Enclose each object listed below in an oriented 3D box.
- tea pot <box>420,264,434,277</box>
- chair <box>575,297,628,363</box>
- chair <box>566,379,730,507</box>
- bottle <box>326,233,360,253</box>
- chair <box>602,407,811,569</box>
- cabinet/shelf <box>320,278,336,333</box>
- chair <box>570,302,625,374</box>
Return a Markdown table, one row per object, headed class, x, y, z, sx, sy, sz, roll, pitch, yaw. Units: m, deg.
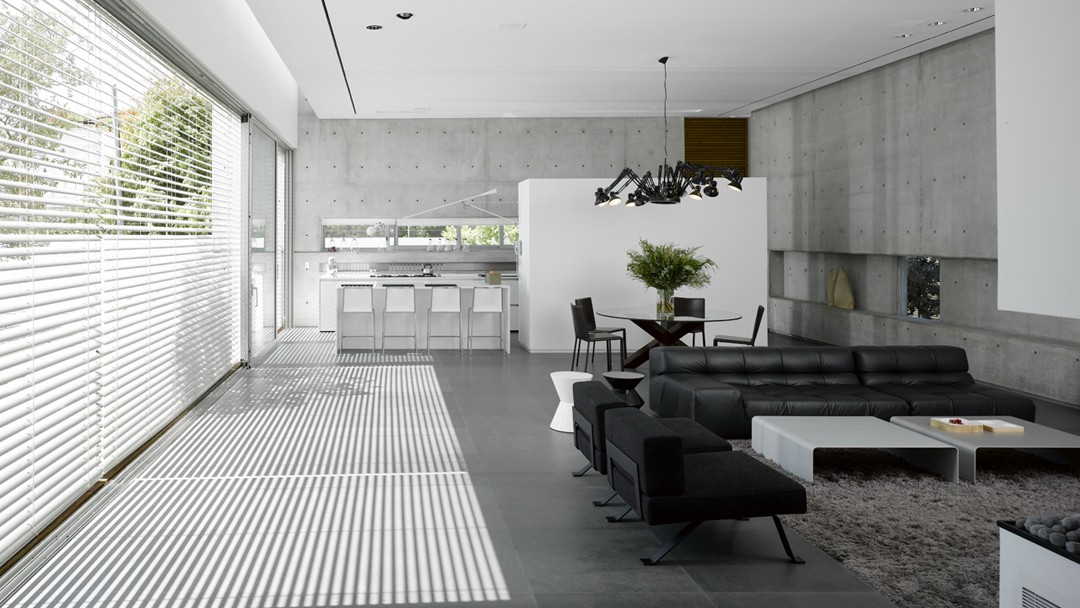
| class | x | y | z | sx | sy | sz | roll | pitch | yaw |
| --- | --- | --- | --- | --- | --- | --- | --- | --- | --- |
| tea pot | -2.695 | -0.788 | 15.339 | 0.398 | 0.342 | 0.362 | -1 | -18 | 0 |
| chair | 1.114 | 0.586 | 10.897 | 0.861 | 1.163 | 0.690 | 3 | 15 | 14 |
| chair | 1.051 | 1.313 | 6.242 | 1.460 | 0.863 | 1.459 | -2 | 0 | 4 |
| bottle | -4.908 | -1.495 | 15.729 | 0.801 | 0.362 | 0.295 | -2 | 13 | -11 |
| chair | 1.252 | 1.037 | 5.443 | 1.207 | 0.815 | 2.129 | -2 | 0 | -4 |
| cabinet/shelf | -4.944 | 0.015 | 14.811 | 0.505 | 1.253 | 0.307 | 8 | 15 | 33 |
| chair | 1.080 | 0.563 | 10.779 | 0.809 | 1.076 | 0.653 | 2 | 14 | 20 |
